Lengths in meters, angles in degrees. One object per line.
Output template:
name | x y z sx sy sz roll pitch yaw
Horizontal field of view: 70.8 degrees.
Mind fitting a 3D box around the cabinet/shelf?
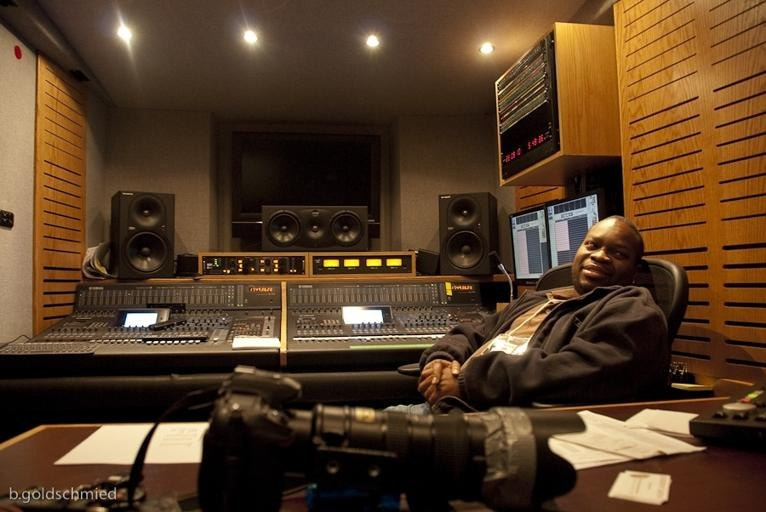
cabinet/shelf | 1.094 -0.925 3.460 0.468 0.736 0.823 -2 -3 -9

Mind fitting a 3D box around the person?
person | 0.574 0.242 2.529 1.247 0.852 0.814 3 -6 -5

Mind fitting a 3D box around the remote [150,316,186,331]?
remote | -1.301 0.411 3.258 0.207 0.068 0.107 0 -1 -33

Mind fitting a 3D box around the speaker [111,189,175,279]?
speaker | -1.683 -0.162 3.731 0.436 0.587 0.458 0 6 -23

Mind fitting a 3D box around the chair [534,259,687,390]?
chair | 1.124 0.245 2.544 0.477 0.556 0.418 18 -13 -32

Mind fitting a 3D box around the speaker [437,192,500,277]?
speaker | 0.637 -0.155 3.959 0.499 0.606 0.490 1 -4 -29
